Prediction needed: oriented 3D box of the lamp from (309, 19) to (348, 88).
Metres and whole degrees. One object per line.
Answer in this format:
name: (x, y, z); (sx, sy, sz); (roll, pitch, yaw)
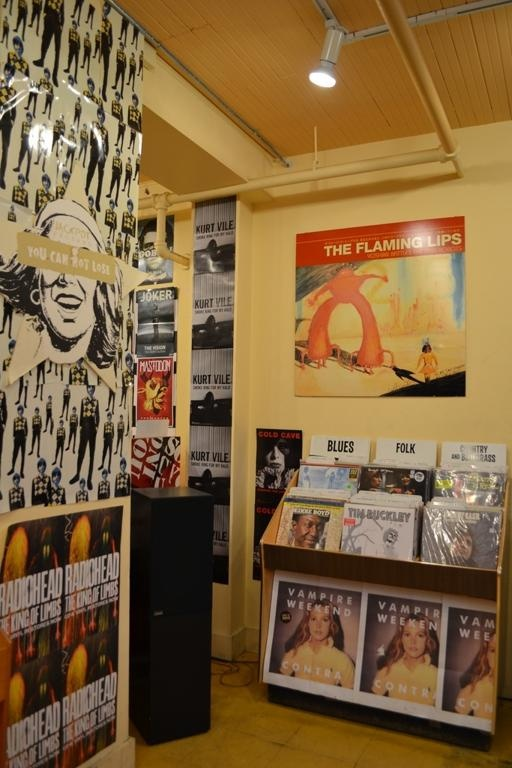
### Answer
lamp: (0.328, -1.449, 2.275); (0.084, 0.208, 0.093); (15, 13, 1)

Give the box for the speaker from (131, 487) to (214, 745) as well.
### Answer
speaker: (-0.427, 1.162, 2.797); (0.429, 1.250, 0.454); (3, 3, 42)
